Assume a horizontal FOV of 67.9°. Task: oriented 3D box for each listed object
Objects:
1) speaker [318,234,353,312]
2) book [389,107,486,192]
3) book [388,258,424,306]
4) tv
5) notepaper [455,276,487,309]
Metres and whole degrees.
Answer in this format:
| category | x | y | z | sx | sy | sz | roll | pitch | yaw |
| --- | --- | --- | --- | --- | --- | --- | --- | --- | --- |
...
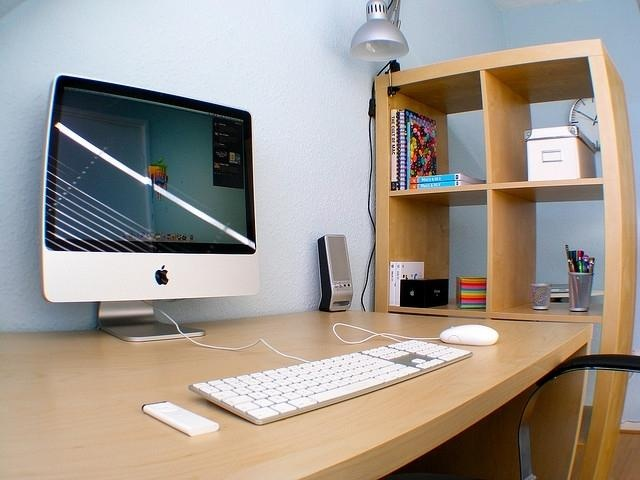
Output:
| category | x | y | z | sx | sy | sz | roll | pitch | yaw |
| --- | --- | --- | --- | --- | --- | --- | --- | --- | --- |
| speaker | 0.055 | 0.120 | 1.746 | 0.119 | 0.276 | 0.129 | 0 | 4 | -15 |
| book | 0.534 | -0.325 | 2.077 | 0.344 | 0.419 | 0.425 | -1 | 1 | 32 |
| book | 0.342 | 0.177 | 1.928 | 0.052 | 0.154 | 0.162 | -11 | -15 | 42 |
| tv | -0.427 | -0.075 | 1.170 | 0.619 | 0.676 | 0.205 | 7 | -15 | -39 |
| notepaper | 0.609 | 0.213 | 1.911 | 0.142 | 0.108 | 0.143 | -2 | -6 | 37 |
